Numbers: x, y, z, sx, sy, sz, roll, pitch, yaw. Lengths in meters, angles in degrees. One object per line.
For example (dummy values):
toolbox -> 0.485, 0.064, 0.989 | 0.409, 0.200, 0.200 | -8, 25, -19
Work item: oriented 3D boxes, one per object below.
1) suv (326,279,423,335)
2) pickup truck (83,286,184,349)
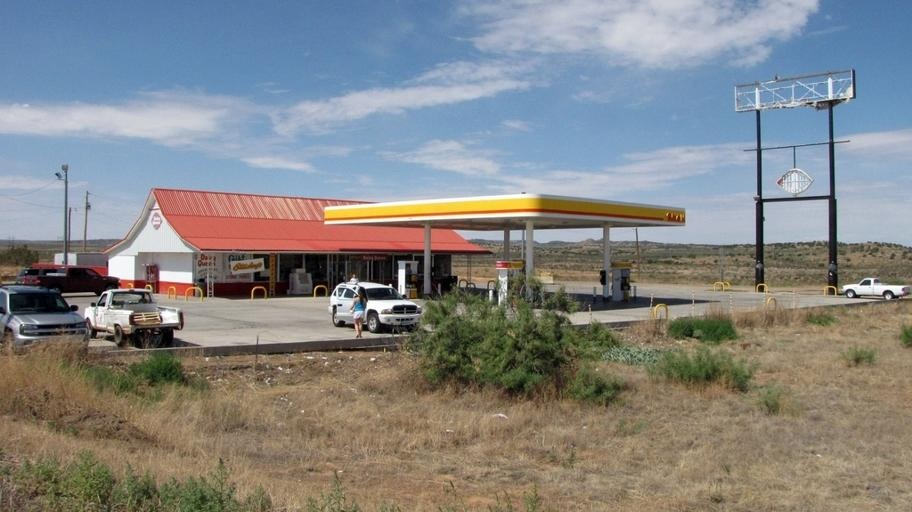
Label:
suv -> -3.741, 2.226, 35.309 | 2.036, 1.662, 4.138 | 1, -3, -37
pickup truck -> -12.413, 2.416, 30.368 | 4.333, 2.037, 1.544 | 5, 11, 26
